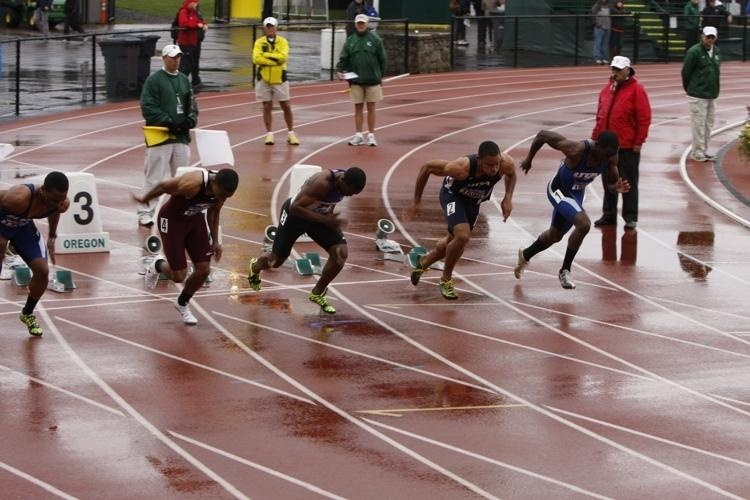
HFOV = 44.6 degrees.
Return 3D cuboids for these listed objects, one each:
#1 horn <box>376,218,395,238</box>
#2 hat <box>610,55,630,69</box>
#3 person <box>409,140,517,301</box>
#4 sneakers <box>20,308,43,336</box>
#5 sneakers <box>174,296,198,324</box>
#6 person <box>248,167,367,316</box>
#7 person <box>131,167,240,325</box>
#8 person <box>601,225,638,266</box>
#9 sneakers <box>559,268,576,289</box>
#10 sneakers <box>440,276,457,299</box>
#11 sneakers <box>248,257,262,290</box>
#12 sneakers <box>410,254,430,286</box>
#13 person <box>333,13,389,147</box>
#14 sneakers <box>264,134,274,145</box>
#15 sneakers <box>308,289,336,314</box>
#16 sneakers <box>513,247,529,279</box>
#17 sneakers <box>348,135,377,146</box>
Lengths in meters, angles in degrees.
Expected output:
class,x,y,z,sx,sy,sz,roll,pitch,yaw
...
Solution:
class,x,y,z,sx,sy,sz,roll,pitch,yaw
horn,0.150,-0.288,12.857,0.304,0.243,0.235,19,-33,-30
hat,3.731,-2.837,13.769,0.228,0.192,0.367,3,11,18
person,1.076,-0.392,11.221,1.248,1.924,0.624,0,13,4
sneakers,-3.755,0.790,9.949,0.348,0.150,0.119,40,39,6
sneakers,-2.155,0.689,10.381,0.140,0.369,0.163,-41,0,-34
person,-0.816,-0.111,10.647,1.157,1.748,1.175,-4,13,-14
person,-2.072,-0.077,10.408,1.300,1.769,0.953,1,13,5
person,3.628,-0.065,13.462,0.622,0.167,0.816,3,15,6
sneakers,2.442,0.367,11.568,0.137,0.120,0.313,-10,28,-12
sneakers,0.941,0.470,11.205,0.147,0.135,0.335,-10,27,-15
sneakers,-1.434,0.273,10.909,0.188,0.388,0.197,-5,22,-6
sneakers,0.581,0.242,11.557,0.180,0.395,0.203,-6,22,-37
person,-0.255,-3.460,18.659,0.971,2.633,0.794,-1,13,-3
sneakers,-2.173,-2.298,18.878,0.142,0.132,0.349,0,-2,-2
sneakers,-0.619,0.637,10.833,0.444,0.141,0.186,31,-21,6
sneakers,1.917,0.169,12.010,0.240,0.394,0.156,11,23,10
sneakers,-0.258,-2.313,19.049,0.713,0.222,0.260,2,11,-8
